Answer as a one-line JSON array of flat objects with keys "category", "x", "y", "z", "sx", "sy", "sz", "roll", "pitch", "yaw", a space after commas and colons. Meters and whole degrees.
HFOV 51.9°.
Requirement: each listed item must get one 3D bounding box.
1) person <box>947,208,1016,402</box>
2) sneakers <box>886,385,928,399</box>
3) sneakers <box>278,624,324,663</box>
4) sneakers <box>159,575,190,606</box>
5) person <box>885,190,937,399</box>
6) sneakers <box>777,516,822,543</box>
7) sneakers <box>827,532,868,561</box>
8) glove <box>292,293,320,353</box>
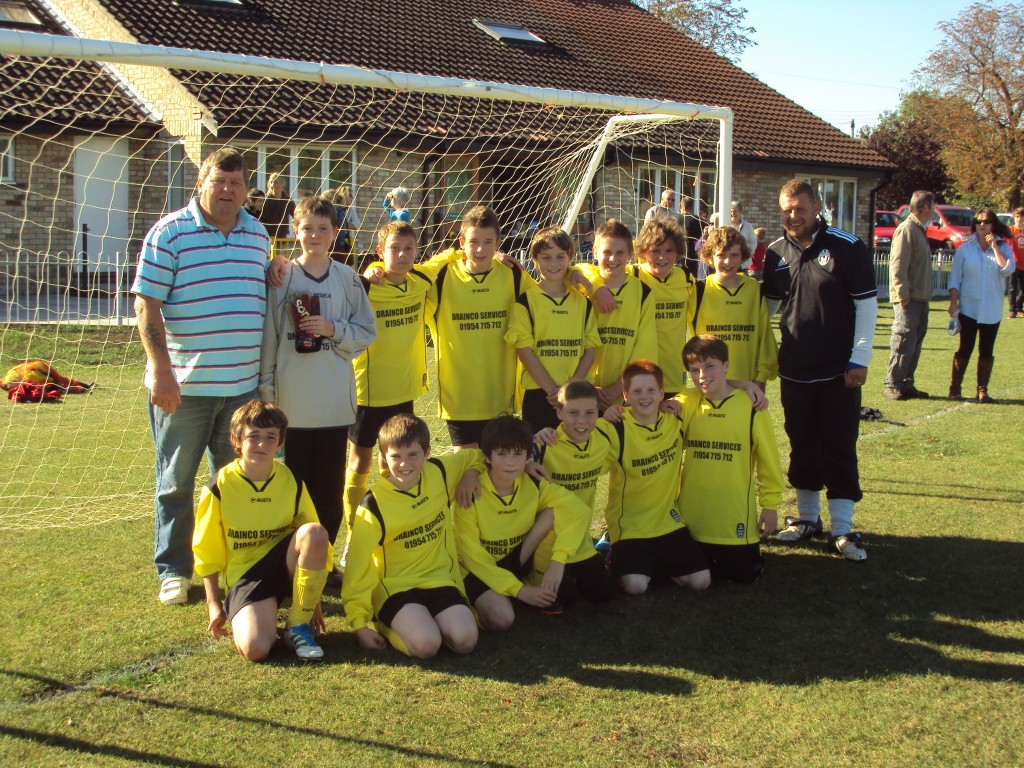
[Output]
[{"category": "person", "x": 4.693, "y": -0.817, "z": 10.631, "sx": 0.521, "sy": 1.842, "sz": 1.259, "roll": 6, "pitch": 15, "yaw": 24}, {"category": "sneakers", "x": 3.972, "y": 0.069, "z": 10.493, "sx": 0.434, "sy": 0.209, "sz": 0.157, "roll": -2, "pitch": 8, "yaw": -11}, {"category": "sneakers", "x": -1.007, "y": 1.229, "z": 5.020, "sx": 0.097, "sy": 0.129, "sz": 0.260, "roll": -2, "pitch": 4, "yaw": -38}, {"category": "sneakers", "x": -1.777, "y": 1.063, "z": 5.518, "sx": 0.161, "sy": 0.120, "sz": 0.203, "roll": -5, "pitch": 16, "yaw": -18}, {"category": "person", "x": 3.957, "y": -0.895, "z": 10.428, "sx": 0.426, "sy": 2.026, "sz": 0.743, "roll": 5, "pitch": 15, "yaw": 20}, {"category": "sneakers", "x": 1.782, "y": 0.889, "z": 6.504, "sx": 0.331, "sy": 0.163, "sz": 0.129, "roll": 1, "pitch": -1, "yaw": -25}, {"category": "sneakers", "x": 1.983, "y": 0.933, "z": 6.175, "sx": 0.212, "sy": 0.137, "sz": 0.296, "roll": 5, "pitch": 16, "yaw": 16}, {"category": "glove", "x": -1.059, "y": -0.311, "z": 5.433, "sx": 0.145, "sy": 0.297, "sz": 0.119, "roll": -3, "pitch": 14, "yaw": -10}]
